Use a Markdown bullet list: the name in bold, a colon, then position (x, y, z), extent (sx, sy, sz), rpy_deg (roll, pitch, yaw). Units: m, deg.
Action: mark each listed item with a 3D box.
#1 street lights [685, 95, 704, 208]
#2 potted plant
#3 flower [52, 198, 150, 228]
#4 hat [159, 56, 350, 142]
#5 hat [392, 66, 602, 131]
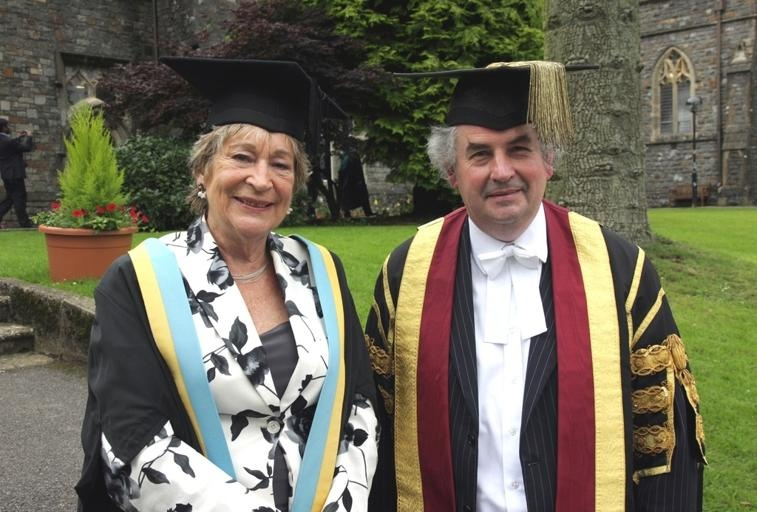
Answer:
- **street lights**: position (9.830, -3.417, 22.809), extent (0.721, 3.187, 0.742), rpy_deg (8, 27, 44)
- **potted plant**: position (-3.663, -0.763, 9.037), extent (1.148, 2.067, 1.249), rpy_deg (0, 5, -19)
- **flower**: position (-3.504, -0.524, 9.065), extent (0.887, 0.359, 1.038), rpy_deg (8, 13, 25)
- **hat**: position (-0.844, -1.060, 4.598), extent (0.886, 0.573, 0.671), rpy_deg (-5, 17, -33)
- **hat**: position (0.795, -1.019, 4.748), extent (0.954, 0.502, 1.035), rpy_deg (-18, 20, -31)
